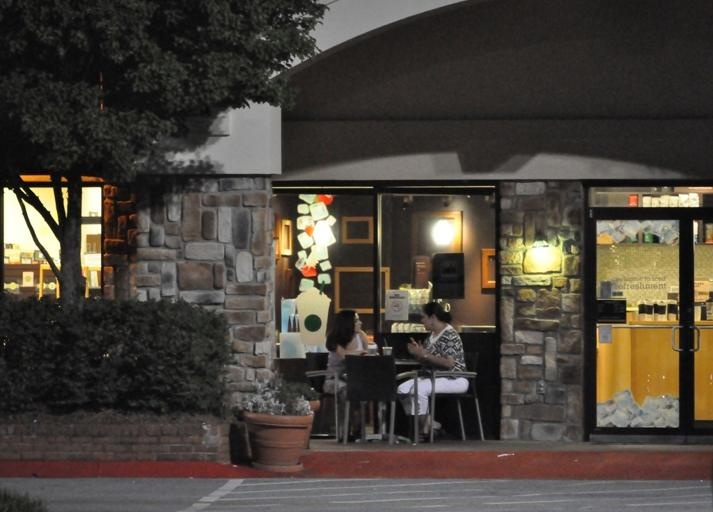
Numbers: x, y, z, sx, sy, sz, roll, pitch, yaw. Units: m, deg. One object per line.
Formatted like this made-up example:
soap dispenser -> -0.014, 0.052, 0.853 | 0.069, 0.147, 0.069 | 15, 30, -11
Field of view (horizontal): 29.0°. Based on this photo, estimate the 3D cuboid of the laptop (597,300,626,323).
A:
laptop -> 3.178, 0.650, 17.263 | 0.460, 0.385, 0.253 | 1, -1, 4

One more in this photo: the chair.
chair -> 0.700, 1.650, 17.033 | 1.634, 1.057, 1.247 | 1, -5, 0

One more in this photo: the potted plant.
potted plant -> -0.894, 1.884, 15.617 | 0.789, 1.069, 0.620 | 1, -5, -5

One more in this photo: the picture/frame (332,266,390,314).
picture/frame -> 0.098, 0.430, 17.717 | 0.603, 0.538, 0.045 | 0, -3, 3

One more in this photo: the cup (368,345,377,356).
cup -> 0.204, 1.133, 16.988 | 0.108, 0.109, 0.109 | 0, 0, 0

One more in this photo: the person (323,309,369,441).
person -> -0.157, 1.409, 16.913 | 0.591, 1.519, 0.753 | -2, -6, 24

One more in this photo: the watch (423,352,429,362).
watch -> 0.838, 1.205, 16.813 | 0.056, 0.087, 0.082 | 5, -16, -1

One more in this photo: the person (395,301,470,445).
person -> 0.953, 1.349, 16.866 | 0.884, 1.601, 0.641 | 1, -5, -9

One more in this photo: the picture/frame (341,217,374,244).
picture/frame -> 0.012, -0.343, 17.736 | 0.383, 0.352, 0.095 | 2, 7, 9

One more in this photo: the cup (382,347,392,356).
cup -> 0.396, 1.186, 17.524 | 0.092, 0.098, 0.093 | 0, 0, 0

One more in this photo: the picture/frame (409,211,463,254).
picture/frame -> 1.037, -0.248, 17.752 | 0.690, 0.687, 0.047 | -2, 5, -15

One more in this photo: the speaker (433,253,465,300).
speaker -> 1.199, 0.259, 17.728 | 0.538, 0.763, 0.404 | 0, -7, 1

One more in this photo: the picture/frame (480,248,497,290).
picture/frame -> 1.714, 0.142, 17.603 | 0.266, 0.482, 0.039 | -2, 2, -36

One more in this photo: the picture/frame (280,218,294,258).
picture/frame -> -0.901, -0.248, 17.748 | 0.177, 0.468, 0.099 | 1, -5, -8
